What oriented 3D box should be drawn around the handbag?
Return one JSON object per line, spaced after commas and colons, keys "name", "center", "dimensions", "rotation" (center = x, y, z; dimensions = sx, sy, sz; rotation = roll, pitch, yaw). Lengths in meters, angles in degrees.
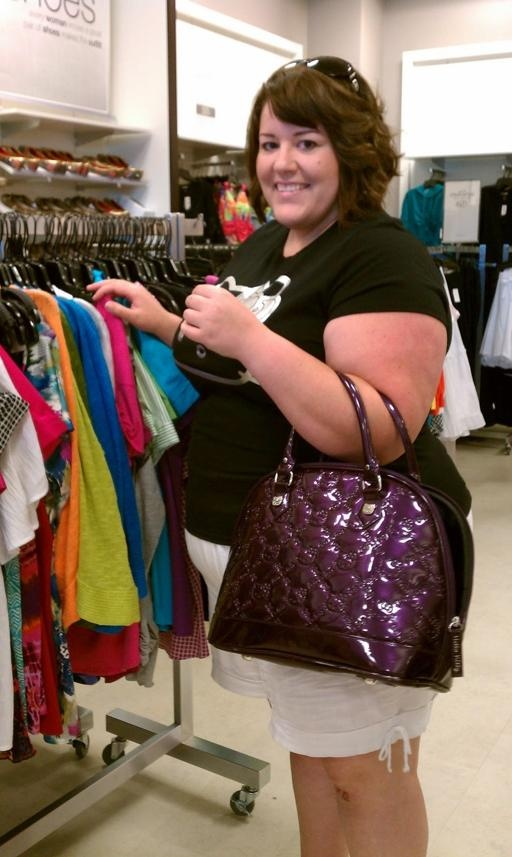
{"name": "handbag", "center": [0.074, 0.109, 0.639], "dimensions": [0.117, 0.318, 0.302], "rotation": [-10, 16, -42]}
